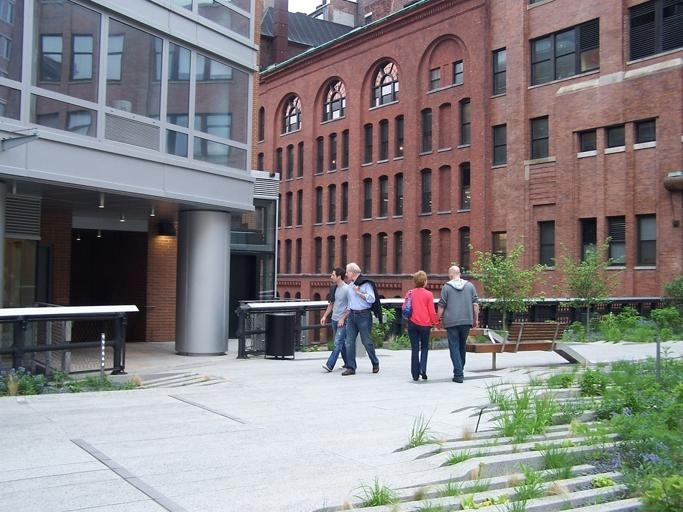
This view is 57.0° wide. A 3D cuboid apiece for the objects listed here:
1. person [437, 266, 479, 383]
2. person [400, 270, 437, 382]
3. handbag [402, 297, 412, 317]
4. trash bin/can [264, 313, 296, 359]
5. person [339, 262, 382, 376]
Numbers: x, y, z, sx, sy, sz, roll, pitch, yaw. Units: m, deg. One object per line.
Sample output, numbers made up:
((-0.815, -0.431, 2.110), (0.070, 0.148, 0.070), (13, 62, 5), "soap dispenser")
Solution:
((2.313, 1.301, 12.417), (0.766, 2.339, 0.803), (-2, -6, 11), "person")
((1.580, 1.366, 12.521), (0.649, 2.173, 1.343), (-1, -7, 7), "person")
((1.287, 0.990, 12.165), (0.151, 0.420, 0.358), (-1, -7, 3), "handbag")
((-1.565, 2.067, 16.198), (0.746, 1.138, 0.669), (1, -7, -9), "trash bin/can")
((0.446, 1.348, 13.424), (0.806, 2.367, 0.960), (-5, -8, 35), "person")
